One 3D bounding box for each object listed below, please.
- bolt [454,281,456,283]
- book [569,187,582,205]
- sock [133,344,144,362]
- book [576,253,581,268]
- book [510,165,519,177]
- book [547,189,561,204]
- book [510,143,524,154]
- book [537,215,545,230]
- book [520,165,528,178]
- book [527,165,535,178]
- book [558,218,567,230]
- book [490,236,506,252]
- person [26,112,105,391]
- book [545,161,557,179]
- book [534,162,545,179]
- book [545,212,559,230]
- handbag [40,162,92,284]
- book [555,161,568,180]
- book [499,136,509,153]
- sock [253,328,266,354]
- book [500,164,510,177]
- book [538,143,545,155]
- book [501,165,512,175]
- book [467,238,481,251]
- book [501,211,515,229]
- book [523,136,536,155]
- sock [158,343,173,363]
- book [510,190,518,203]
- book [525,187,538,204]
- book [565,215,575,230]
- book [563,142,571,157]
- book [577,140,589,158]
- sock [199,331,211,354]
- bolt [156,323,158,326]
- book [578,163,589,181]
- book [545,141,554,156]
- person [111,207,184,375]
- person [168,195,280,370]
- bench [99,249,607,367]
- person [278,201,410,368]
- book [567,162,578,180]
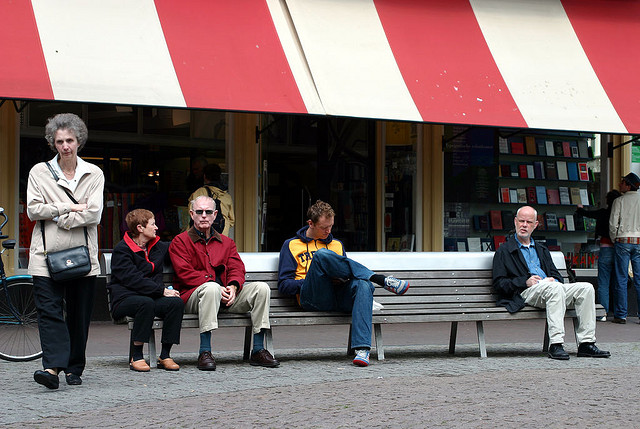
[{"bbox_3d":[1.549,0.765,7.969,0.021,0.022,0.005,3,-1,0],"label":"bolt"},{"bbox_3d":[4.813,-0.375,13.106,0.219,0.323,0.064,1,-2,-17],"label":"book"},{"bbox_3d":[-1.797,1.352,6.840,0.084,0.165,0.076,1,-2,-16],"label":"sock"},{"bbox_3d":[4.820,0.831,12.920,0.046,0.198,0.201,3,2,-5],"label":"book"},{"bbox_3d":[3.559,-0.824,12.758,0.194,0.286,0.127,4,-10,-38],"label":"book"},{"bbox_3d":[4.388,-0.362,13.057,0.258,0.256,0.061,2,-7,-11],"label":"book"},{"bbox_3d":[3.646,-1.237,12.805,0.211,0.200,0.051,-2,0,-24],"label":"book"},{"bbox_3d":[4.114,0.120,12.956,0.178,0.271,0.091,2,-2,-39],"label":"book"},{"bbox_3d":[3.770,-0.826,12.841,0.172,0.235,0.031,1,-2,-34],"label":"book"},{"bbox_3d":[3.919,-0.831,12.910,0.153,0.236,0.030,2,-2,-37],"label":"book"},{"bbox_3d":[4.540,0.167,13.012,0.184,0.351,0.034,3,-11,-9],"label":"book"},{"bbox_3d":[2.837,0.452,11.131,0.321,0.331,0.168,3,-8,-32],"label":"book"},{"bbox_3d":[-2.307,0.308,6.205,0.591,2.398,0.852,3,3,18],"label":"person"},{"bbox_3d":[4.344,-0.865,13.076,0.231,0.335,0.051,1,-2,-26],"label":"book"},{"bbox_3d":[4.090,-0.824,13.113,0.236,0.357,0.355,0,0,0],"label":"book"},{"bbox_3d":[4.334,0.114,13.003,0.307,0.453,0.056,2,-25,-14],"label":"book"},{"bbox_3d":[-2.236,0.320,6.118,0.439,0.563,0.218,1,-2,-23],"label":"handbag"},{"bbox_3d":[4.564,-0.863,13.121,0.244,0.346,0.054,1,-2,-16],"label":"book"},{"bbox_3d":[3.344,-1.317,12.647,0.251,0.307,0.032,-4,7,-8],"label":"book"},{"bbox_3d":[-0.615,1.268,7.056,0.119,0.264,0.176,1,-2,-11],"label":"sock"},{"bbox_3d":[3.389,-0.828,12.695,0.196,0.196,0.047,2,-9,-22],"label":"book"},{"bbox_3d":[4.156,-1.256,13.036,0.142,0.202,0.037,1,-2,-31],"label":"book"},{"bbox_3d":[3.417,-0.844,12.705,0.167,0.166,0.042,4,-3,-17],"label":"book"},{"bbox_3d":[2.772,0.523,12.478,0.262,0.263,0.060,-4,-4,-26],"label":"book"},{"bbox_3d":[3.434,0.077,12.709,0.220,0.325,0.184,0,-2,15],"label":"book"},{"bbox_3d":[3.920,-1.313,12.938,0.264,0.318,0.028,1,-2,-26],"label":"book"},{"bbox_3d":[-1.529,1.361,6.862,0.105,0.220,0.188,1,-2,-16],"label":"sock"},{"bbox_3d":[3.568,-0.361,12.783,0.175,0.231,0.010,1,-2,-23],"label":"book"},{"bbox_3d":[3.932,-0.377,12.930,0.269,0.307,0.050,1,-2,-31],"label":"book"},{"bbox_3d":[4.696,0.121,13.021,0.151,0.272,0.053,0,-2,7],"label":"book"},{"bbox_3d":[4.690,-1.261,13.186,0.142,0.280,0.052,1,-2,-19],"label":"book"},{"bbox_3d":[4.997,-1.266,13.180,0.188,0.318,0.066,0,-2,2],"label":"book"},{"bbox_3d":[-1.141,1.261,6.884,0.088,0.220,0.088,1,-2,-7],"label":"sock"},{"bbox_3d":[-1.588,1.064,6.762,0.019,0.019,0.005,4,-6,-22],"label":"bolt"},{"bbox_3d":[4.982,-0.833,13.123,0.184,0.334,0.052,0,-2,-4],"label":"book"},{"bbox_3d":[4.342,-1.276,13.105,0.168,0.276,0.029,1,-2,-20],"label":"book"},{"bbox_3d":[-1.711,0.591,6.890,0.691,1.297,0.498,1,-2,-19],"label":"person"},{"bbox_3d":[-1.015,0.669,7.090,1.029,1.732,0.547,1,-2,-18],"label":"person"},{"bbox_3d":[0.725,0.975,7.619,4.970,1.194,0.797,1,-2,-13],"label":"bench"},{"bbox_3d":[0.171,0.695,7.336,1.198,1.699,0.737,0,-2,-4],"label":"person"},{"bbox_3d":[4.786,-0.852,13.142,0.173,0.326,0.049,0,-2,4],"label":"book"}]
